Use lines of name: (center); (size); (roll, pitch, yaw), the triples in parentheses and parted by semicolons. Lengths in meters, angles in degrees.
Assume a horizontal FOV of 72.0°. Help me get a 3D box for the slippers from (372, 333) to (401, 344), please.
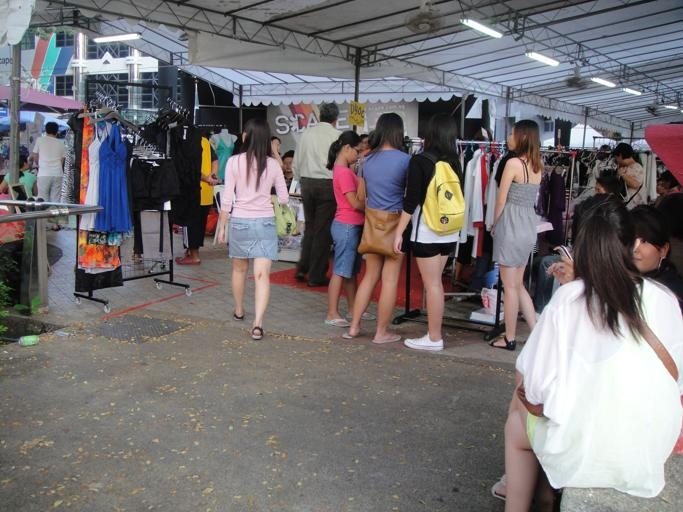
slippers: (0.453, 0.799, 4.732); (0.200, 0.071, 0.112); (-1, 2, -29)

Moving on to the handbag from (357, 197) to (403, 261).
handbag: (0.368, -0.258, 4.514); (0.270, 0.519, 0.282); (-3, 15, -35)

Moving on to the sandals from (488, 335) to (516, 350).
sandals: (1.612, 0.862, 4.724); (0.122, 0.117, 0.249); (-1, 7, -35)

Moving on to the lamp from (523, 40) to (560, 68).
lamp: (5.368, -5.408, 12.622); (1.080, 0.262, 0.571); (11, 16, -32)

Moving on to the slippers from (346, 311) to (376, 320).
slippers: (0.232, 0.701, 5.520); (0.336, 0.144, 0.131); (-3, 6, -18)

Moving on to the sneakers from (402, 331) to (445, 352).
sneakers: (0.806, 0.823, 4.605); (0.353, 0.155, 0.159); (3, -5, 10)

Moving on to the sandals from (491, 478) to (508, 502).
sandals: (0.869, 1.271, 2.576); (0.040, 0.116, 0.068); (-4, 50, -18)

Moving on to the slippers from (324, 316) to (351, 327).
slippers: (-0.040, 0.720, 5.245); (0.190, 0.064, 0.111); (2, 1, 22)

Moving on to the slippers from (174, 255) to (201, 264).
slippers: (-2.568, 0.079, 7.903); (0.371, 0.162, 0.174); (1, 0, 15)
